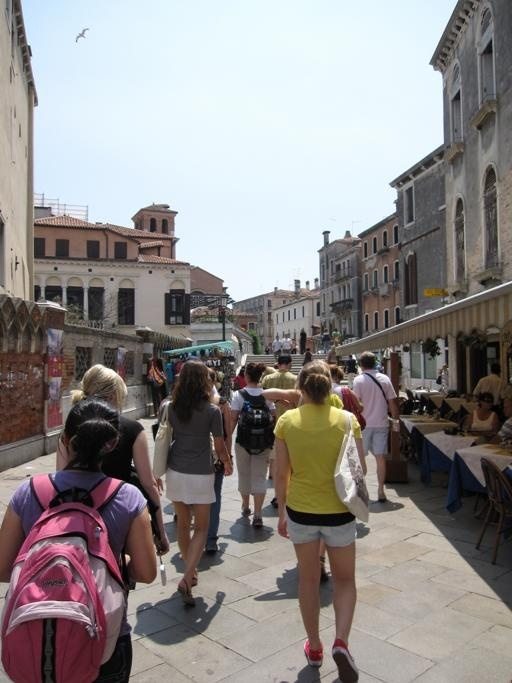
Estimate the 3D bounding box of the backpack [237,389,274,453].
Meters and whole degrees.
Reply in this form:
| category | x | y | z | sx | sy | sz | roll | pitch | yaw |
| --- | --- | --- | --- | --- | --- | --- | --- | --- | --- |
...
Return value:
| category | x | y | z | sx | sy | sz | roll | pitch | yaw |
| --- | --- | --- | --- | --- | --- | --- | --- | --- | --- |
| backpack | -0.028 | 0.806 | 6.327 | 0.380 | 0.602 | 0.246 | 1 | -3 | -1 |

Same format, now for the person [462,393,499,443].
| category | x | y | z | sx | sy | sz | roll | pitch | yaw |
| --- | --- | --- | --- | --- | --- | --- | --- | --- | --- |
| person | 3.111 | 1.094 | 8.584 | 0.306 | 0.735 | 0.397 | -6 | -51 | 23 |

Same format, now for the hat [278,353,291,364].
| category | x | y | z | sx | sy | sz | roll | pitch | yaw |
| --- | --- | --- | --- | --- | --- | --- | --- | --- | --- |
| hat | 0.310 | 0.196 | 6.869 | 0.096 | 0.125 | 0.124 | 0 | -3 | 0 |

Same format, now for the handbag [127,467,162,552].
| category | x | y | z | sx | sy | sz | roll | pitch | yaw |
| --- | --- | --- | --- | --- | --- | --- | --- | --- | --- |
| handbag | -0.571 | 0.858 | 3.129 | 0.248 | 0.378 | 0.135 | 10 | -36 | -7 |

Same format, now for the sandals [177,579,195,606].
| category | x | y | z | sx | sy | sz | roll | pitch | yaw |
| --- | --- | --- | --- | --- | --- | --- | --- | --- | --- |
| sandals | -0.475 | 1.719 | 4.171 | 0.073 | 0.109 | 0.253 | 1 | -15 | 8 |

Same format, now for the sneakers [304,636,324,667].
| category | x | y | z | sx | sy | sz | roll | pitch | yaw |
| --- | --- | --- | --- | --- | --- | --- | --- | --- | --- |
| sneakers | 0.314 | 1.696 | 3.335 | 0.059 | 0.079 | 0.168 | 0 | -2 | 2 |
